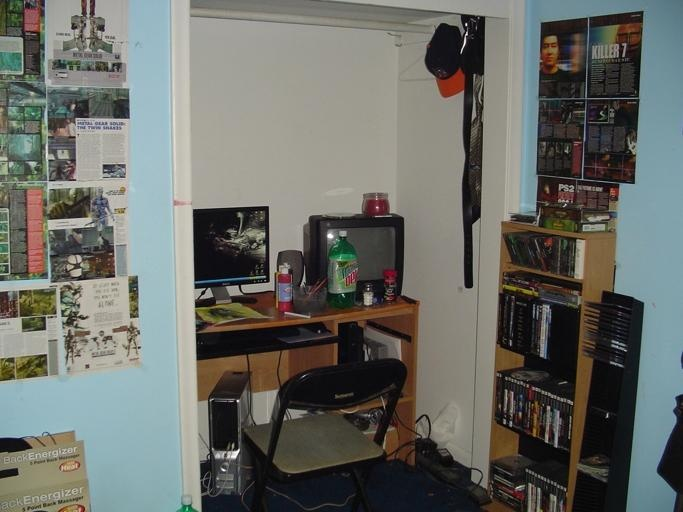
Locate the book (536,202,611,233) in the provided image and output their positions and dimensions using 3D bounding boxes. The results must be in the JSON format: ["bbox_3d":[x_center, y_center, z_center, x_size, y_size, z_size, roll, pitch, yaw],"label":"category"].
[{"bbox_3d":[1.092,-0.182,2.747,0.312,0.127,0.148,2,8,23],"label":"book"}]

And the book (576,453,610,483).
[{"bbox_3d":[1.178,0.982,2.710,0.137,0.119,0.026,4,9,36],"label":"book"}]

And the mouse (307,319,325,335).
[{"bbox_3d":[-0.143,0.401,3.277,0.063,0.028,0.095,-3,18,-11],"label":"mouse"}]

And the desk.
[{"bbox_3d":[0.053,0.640,3.489,1.405,0.535,0.981,-14,-1,-24],"label":"desk"}]

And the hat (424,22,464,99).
[{"bbox_3d":[0.618,-1.138,3.415,0.236,0.383,0.217,22,49,34],"label":"hat"}]

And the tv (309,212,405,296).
[{"bbox_3d":[0.087,0.034,3.740,0.588,0.598,0.324,-5,10,-20],"label":"tv"}]

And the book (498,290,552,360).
[{"bbox_3d":[0.951,0.340,2.979,0.149,0.313,0.319,-6,9,-32],"label":"book"}]

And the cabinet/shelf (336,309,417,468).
[{"bbox_3d":[0.265,0.806,3.662,0.384,0.716,0.384,4,-4,-14],"label":"cabinet/shelf"}]

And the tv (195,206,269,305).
[{"bbox_3d":[-0.641,-0.024,3.397,0.475,0.570,0.173,-7,13,-33],"label":"tv"}]

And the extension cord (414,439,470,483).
[{"bbox_3d":[0.600,1.258,3.513,0.173,0.079,0.245,-6,20,-37],"label":"extension cord"}]

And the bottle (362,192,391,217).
[{"bbox_3d":[0.233,-0.338,3.711,0.148,0.123,0.157,-1,10,0],"label":"bottle"}]

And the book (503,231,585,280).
[{"bbox_3d":[0.987,-0.008,2.868,0.102,0.198,0.470,-5,8,-30],"label":"book"}]

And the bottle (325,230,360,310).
[{"bbox_3d":[-0.002,0.072,3.453,0.173,0.437,0.224,-2,7,-6],"label":"bottle"}]

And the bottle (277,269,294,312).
[{"bbox_3d":[-0.324,0.186,3.286,0.082,0.256,0.077,-1,7,0],"label":"bottle"}]

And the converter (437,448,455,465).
[{"bbox_3d":[0.644,1.230,3.580,0.089,0.073,0.089,-4,12,-40],"label":"converter"}]
